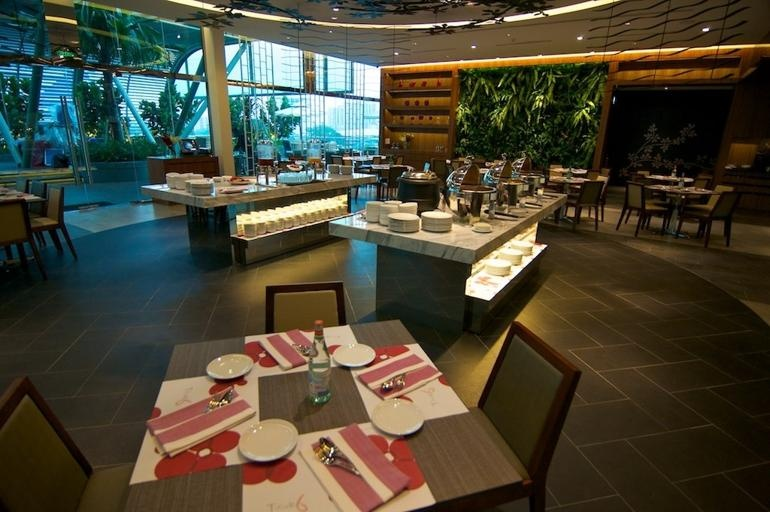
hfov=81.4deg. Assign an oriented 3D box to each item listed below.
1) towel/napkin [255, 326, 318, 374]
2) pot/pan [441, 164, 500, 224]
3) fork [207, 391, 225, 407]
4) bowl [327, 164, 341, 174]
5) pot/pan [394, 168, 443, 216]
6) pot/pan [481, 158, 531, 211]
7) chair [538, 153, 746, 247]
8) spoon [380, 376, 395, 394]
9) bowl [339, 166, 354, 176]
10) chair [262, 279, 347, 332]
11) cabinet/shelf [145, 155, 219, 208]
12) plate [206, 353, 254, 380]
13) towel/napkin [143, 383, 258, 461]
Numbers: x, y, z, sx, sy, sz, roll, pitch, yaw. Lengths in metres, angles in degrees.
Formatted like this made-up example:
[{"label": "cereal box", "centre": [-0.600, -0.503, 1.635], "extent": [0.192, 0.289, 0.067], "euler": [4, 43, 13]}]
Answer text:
[{"label": "towel/napkin", "centre": [-0.717, 0.689, 3.302], "extent": [0.305, 0.047, 0.272], "euler": [-6, 27, -34]}, {"label": "pot/pan", "centre": [0.920, -0.717, 4.925], "extent": [0.657, 0.627, 0.490], "euler": [14, 27, 30]}, {"label": "fork", "centre": [-1.121, 0.954, 2.955], "extent": [0.060, 0.022, 0.072], "euler": [2, 41, 10]}, {"label": "bowl", "centre": [-0.888, -1.522, 7.818], "extent": [0.213, 0.113, 0.182], "euler": [-3, 15, -4]}, {"label": "pot/pan", "centre": [0.402, -0.745, 4.995], "extent": [0.571, 0.418, 0.510], "euler": [1, 23, 9]}, {"label": "pot/pan", "centre": [1.422, -0.889, 5.373], "extent": [0.453, 0.511, 0.564], "euler": [-13, 26, -31]}, {"label": "chair", "centre": [5.631, -1.001, 8.944], "extent": [2.413, 1.053, 2.355], "euler": [10, 19, 27]}, {"label": "spoon", "centre": [0.022, 0.892, 3.070], "extent": [0.044, 0.045, 0.131], "euler": [10, 18, 26]}, {"label": "bowl", "centre": [-0.673, -1.482, 7.777], "extent": [0.210, 0.106, 0.176], "euler": [-14, 23, -38]}, {"label": "chair", "centre": [-0.645, 0.362, 3.832], "extent": [0.534, 0.644, 0.483], "euler": [-4, 17, -13]}, {"label": "cabinet/shelf", "centre": [-4.456, -1.979, 10.145], "extent": [1.091, 0.655, 0.554], "euler": [-16, 41, -34]}, {"label": "plate", "centre": [-1.093, 0.779, 3.140], "extent": [0.210, 0.025, 0.185], "euler": [3, 26, -5]}, {"label": "towel/napkin", "centre": [-1.164, 1.058, 2.882], "extent": [0.489, 0.073, 0.343], "euler": [-17, 33, -30]}]
